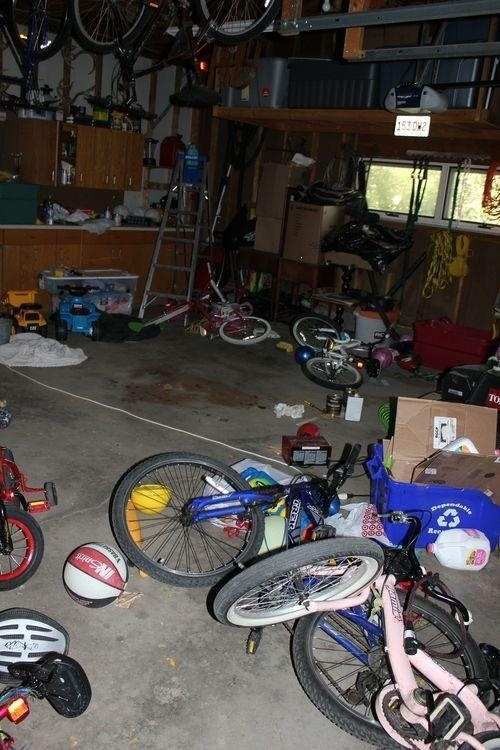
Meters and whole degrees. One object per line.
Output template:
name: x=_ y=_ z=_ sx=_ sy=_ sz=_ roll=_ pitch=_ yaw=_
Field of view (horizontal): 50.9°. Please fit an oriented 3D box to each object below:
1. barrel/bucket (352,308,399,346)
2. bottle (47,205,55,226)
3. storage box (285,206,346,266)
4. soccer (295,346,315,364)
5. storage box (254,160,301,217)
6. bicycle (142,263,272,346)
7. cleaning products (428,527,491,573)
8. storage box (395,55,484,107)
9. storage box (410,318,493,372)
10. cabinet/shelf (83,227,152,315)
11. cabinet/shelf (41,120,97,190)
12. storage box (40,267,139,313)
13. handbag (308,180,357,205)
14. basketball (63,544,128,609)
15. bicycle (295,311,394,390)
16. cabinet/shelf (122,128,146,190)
barrel/bucket: x=1.447 y=-0.584 z=6.290 sx=0.462 sy=0.446 sz=0.464 roll=15 pitch=17 yaw=-5
bottle: x=-2.506 y=-2.006 z=6.602 sx=0.105 sy=0.260 sz=0.391 roll=2 pitch=15 yaw=-21
storage box: x=0.956 y=-1.889 z=6.950 sx=0.696 sy=0.690 sz=0.662 roll=-11 pitch=24 yaw=-34
soccer: x=0.567 y=-0.217 z=5.466 sx=0.187 sy=0.186 sz=0.222 roll=-14 pitch=-17 yaw=-4
storage box: x=0.344 y=-2.460 z=7.075 sx=0.535 sy=0.708 sz=0.229 roll=16 pitch=17 yaw=29
bicycle: x=-0.514 y=-0.994 z=6.615 sx=1.682 sy=0.870 sz=1.041 roll=7 pitch=14 yaw=16
cleaning products: x=0.991 y=0.822 z=2.469 sx=0.302 sy=0.176 sz=0.156 roll=6 pitch=32 yaw=-6
storage box: x=1.817 y=-2.831 z=5.109 sx=0.767 sy=0.248 sz=0.799 roll=-34 pitch=38 yaw=-10
storage box: x=2.194 y=-0.347 z=5.736 sx=0.760 sy=0.440 sz=0.495 roll=17 pitch=17 yaw=27
cabinet/shelf: x=-1.777 y=-1.390 z=6.913 sx=1.165 sy=1.116 sz=0.675 roll=-7 pitch=27 yaw=-31
cabinet/shelf: x=-2.482 y=-2.826 z=6.744 sx=0.495 sy=0.702 sz=0.484 roll=14 pitch=21 yaw=8
storage box: x=-1.966 y=-1.071 z=6.498 sx=0.929 sy=0.430 sz=0.613 roll=-4 pitch=17 yaw=-24
handbag: x=1.029 y=-2.236 z=6.586 sx=0.454 sy=0.181 sz=0.347 roll=-12 pitch=25 yaw=-36
basketball: x=-0.583 y=0.768 z=1.985 sx=0.186 sy=0.185 sz=0.215 roll=33 pitch=-7 yaw=4
bicycle: x=0.948 y=-0.182 z=5.597 sx=0.713 sy=0.718 sz=1.157 roll=1 pitch=20 yaw=-7
cabinet/shelf: x=-1.756 y=-3.095 z=7.560 sx=0.301 sy=0.840 sz=0.479 roll=-8 pitch=26 yaw=-30
